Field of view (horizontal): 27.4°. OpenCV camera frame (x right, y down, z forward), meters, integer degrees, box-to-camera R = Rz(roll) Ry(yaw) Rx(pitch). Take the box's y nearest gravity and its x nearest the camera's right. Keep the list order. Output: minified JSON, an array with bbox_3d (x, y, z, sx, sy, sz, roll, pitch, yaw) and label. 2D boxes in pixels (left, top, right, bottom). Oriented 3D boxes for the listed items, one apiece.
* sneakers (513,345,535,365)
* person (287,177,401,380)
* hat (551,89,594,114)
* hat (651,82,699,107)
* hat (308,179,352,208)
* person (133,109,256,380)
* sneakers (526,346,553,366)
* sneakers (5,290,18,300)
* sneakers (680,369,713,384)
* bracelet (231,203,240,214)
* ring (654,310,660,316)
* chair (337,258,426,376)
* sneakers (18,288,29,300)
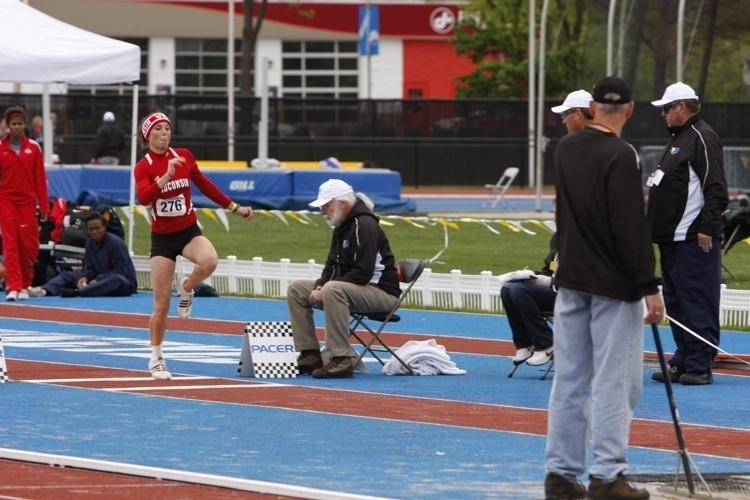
[{"bbox_3d":[1.775,1.291,18.744,0.333,0.134,0.120,-38,10,-40],"label":"sneakers"},{"bbox_3d":[-0.393,0.346,18.839,1.354,2.372,0.662,0,7,-2],"label":"person"},{"bbox_3d":[2.292,-1.723,17.793,0.524,0.239,0.310,2,3,7],"label":"hat"},{"bbox_3d":[3.594,-1.860,18.398,0.700,0.336,0.442,2,4,10],"label":"hat"},{"bbox_3d":[-0.505,-0.725,18.878,0.533,0.271,0.317,-13,8,-13],"label":"hat"},{"bbox_3d":[-2.357,-0.060,18.456,1.045,3.135,0.719,-3,7,-23],"label":"person"},{"bbox_3d":[1.979,1.296,18.576,0.366,0.135,0.148,-7,-3,-30],"label":"sneakers"},{"bbox_3d":[-5.446,0.675,23.046,0.148,0.100,0.249,0,-4,-8],"label":"sneakers"},{"bbox_3d":[3.839,1.528,18.484,0.416,0.153,0.143,4,-5,-11],"label":"sneakers"},{"bbox_3d":[-1.733,-0.514,18.781,0.116,0.108,0.092,-16,12,-41],"label":"bracelet"},{"bbox_3d":[2.776,0.624,15.179,0.058,0.047,0.019,1,7,8],"label":"ring"},{"bbox_3d":[-0.048,0.808,19.271,1.173,1.308,0.841,-6,13,-29],"label":"chair"},{"bbox_3d":[-5.307,0.658,23.165,0.153,0.155,0.388,0,-6,-16],"label":"sneakers"}]
